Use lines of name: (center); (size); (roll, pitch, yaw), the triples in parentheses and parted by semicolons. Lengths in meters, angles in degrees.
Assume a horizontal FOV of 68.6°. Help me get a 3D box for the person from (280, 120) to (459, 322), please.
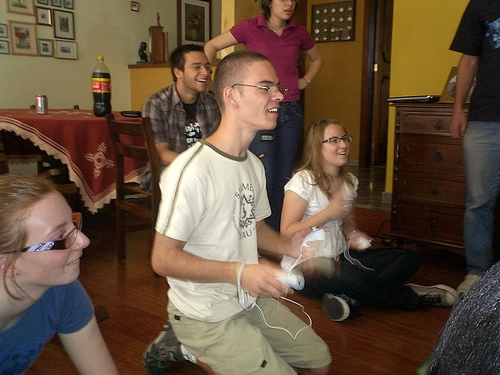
person: (0.655, 0.146, 2.114); (1.069, 1.070, 0.714); (4, 8, 42)

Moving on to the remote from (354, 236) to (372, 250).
remote: (0.665, 0.323, 2.146); (0.098, 0.073, 0.083); (1, 15, 1)

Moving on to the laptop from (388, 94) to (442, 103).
laptop: (1.263, -0.676, 2.804); (0.378, 0.056, 0.238); (6, 16, 19)
